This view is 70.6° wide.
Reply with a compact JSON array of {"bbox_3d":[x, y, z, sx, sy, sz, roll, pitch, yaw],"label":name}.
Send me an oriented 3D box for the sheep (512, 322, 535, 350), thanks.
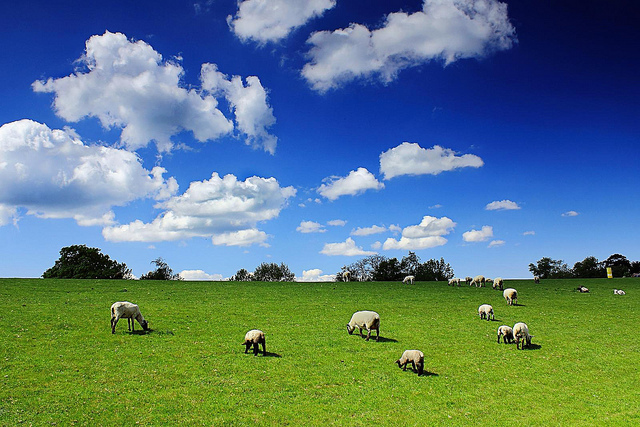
[{"bbox_3d":[19.701,12.174,44.903,1.639,2.471,1.384,5,-11,-27],"label":"sheep"}]
